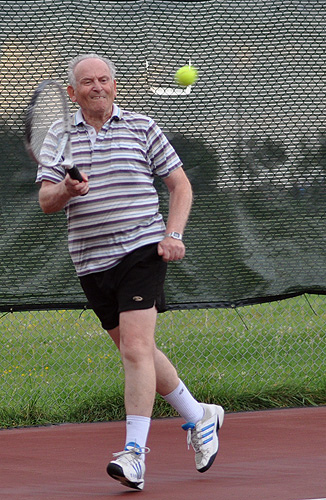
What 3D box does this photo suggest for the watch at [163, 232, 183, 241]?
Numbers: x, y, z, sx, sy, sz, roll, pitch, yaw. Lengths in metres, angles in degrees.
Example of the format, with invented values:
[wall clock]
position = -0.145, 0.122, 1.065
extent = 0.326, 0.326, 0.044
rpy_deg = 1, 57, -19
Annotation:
[watch]
position = 0.036, -0.046, 1.688
extent = 0.042, 0.021, 0.042
rpy_deg = -9, -30, 41

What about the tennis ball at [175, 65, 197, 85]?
[tennis ball]
position = 0.129, -0.981, 2.913
extent = 0.076, 0.104, 0.102
rpy_deg = 20, 26, 35
